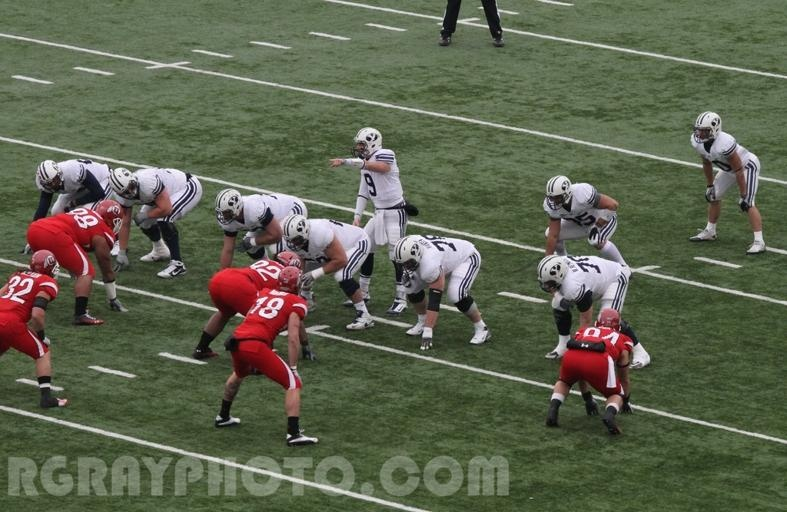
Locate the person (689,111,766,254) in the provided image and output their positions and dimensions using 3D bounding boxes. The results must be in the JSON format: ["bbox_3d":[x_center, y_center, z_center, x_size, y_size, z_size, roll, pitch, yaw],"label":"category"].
[{"bbox_3d":[4.885,-1.072,19.226,1.283,1.958,0.684,9,16,12],"label":"person"}]

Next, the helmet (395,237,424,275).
[{"bbox_3d":[0.190,-0.029,16.952,0.382,0.433,0.283,1,15,-14],"label":"helmet"}]

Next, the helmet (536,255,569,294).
[{"bbox_3d":[1.912,0.196,16.473,0.388,0.363,0.499,6,13,36],"label":"helmet"}]

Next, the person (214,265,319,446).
[{"bbox_3d":[-1.469,1.115,15.422,1.088,1.998,1.025,4,15,-7],"label":"person"}]

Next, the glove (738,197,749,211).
[{"bbox_3d":[5.100,-0.751,19.201,0.094,0.168,0.151,-8,-6,-31],"label":"glove"}]

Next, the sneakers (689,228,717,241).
[{"bbox_3d":[4.467,-0.299,19.468,0.530,0.167,0.153,1,7,-5],"label":"sneakers"}]

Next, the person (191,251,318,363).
[{"bbox_3d":[-1.650,0.532,16.777,1.683,0.967,1.536,13,20,42],"label":"person"}]

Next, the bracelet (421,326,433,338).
[{"bbox_3d":[0.439,0.980,16.994,0.161,0.116,0.124,-1,0,3],"label":"bracelet"}]

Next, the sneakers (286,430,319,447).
[{"bbox_3d":[-1.071,2.109,15.313,0.442,0.137,0.134,-1,1,-6],"label":"sneakers"}]

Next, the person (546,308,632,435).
[{"bbox_3d":[2.396,1.297,15.475,0.978,1.023,1.708,6,22,15],"label":"person"}]

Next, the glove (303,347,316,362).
[{"bbox_3d":[-1.060,1.231,16.678,0.092,0.104,0.254,-31,-13,-14],"label":"glove"}]

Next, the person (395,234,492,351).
[{"bbox_3d":[0.604,0.523,17.291,1.362,1.142,1.303,-11,19,-20],"label":"person"}]

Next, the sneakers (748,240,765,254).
[{"bbox_3d":[5.267,-0.141,19.191,0.261,0.199,0.321,8,14,14],"label":"sneakers"}]

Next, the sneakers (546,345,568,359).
[{"bbox_3d":[2.117,1.233,16.872,0.334,0.103,0.102,-2,14,-6],"label":"sneakers"}]

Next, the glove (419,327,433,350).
[{"bbox_3d":[0.415,1.058,17.019,0.232,0.252,0.110,-3,-10,5],"label":"glove"}]

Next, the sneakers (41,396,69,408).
[{"bbox_3d":[-4.001,1.721,15.680,0.320,0.095,0.109,-3,16,-20],"label":"sneakers"}]

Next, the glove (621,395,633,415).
[{"bbox_3d":[2.780,1.786,15.812,0.111,0.175,0.287,-2,14,13],"label":"glove"}]

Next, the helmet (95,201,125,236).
[{"bbox_3d":[-3.934,-0.530,17.880,0.544,0.446,0.579,2,1,-10],"label":"helmet"}]

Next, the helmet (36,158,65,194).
[{"bbox_3d":[-4.705,-1.070,18.148,0.337,0.438,0.316,1,15,-17],"label":"helmet"}]

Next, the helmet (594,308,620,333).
[{"bbox_3d":[2.551,0.753,15.761,0.271,0.245,0.302,11,8,0],"label":"helmet"}]

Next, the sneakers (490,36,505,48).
[{"bbox_3d":[1.992,-4.104,25.351,0.312,0.212,0.544,-1,5,2],"label":"sneakers"}]

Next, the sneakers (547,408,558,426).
[{"bbox_3d":[1.883,1.895,15.626,0.103,0.132,0.280,-10,21,16],"label":"sneakers"}]

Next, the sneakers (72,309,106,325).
[{"bbox_3d":[-3.977,0.815,17.349,0.472,0.234,0.147,-2,7,-8],"label":"sneakers"}]

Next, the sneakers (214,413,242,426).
[{"bbox_3d":[-1.951,1.907,15.496,0.322,0.100,0.113,-3,-35,-22],"label":"sneakers"}]

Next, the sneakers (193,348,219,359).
[{"bbox_3d":[-2.353,1.218,16.680,0.305,0.095,0.120,-2,-25,-28],"label":"sneakers"}]

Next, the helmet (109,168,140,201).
[{"bbox_3d":[-3.664,-0.993,18.087,0.348,0.435,0.420,-43,14,1],"label":"helmet"}]

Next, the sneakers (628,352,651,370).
[{"bbox_3d":[3.103,1.305,16.658,0.316,0.245,0.152,4,-19,-45],"label":"sneakers"}]

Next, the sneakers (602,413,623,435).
[{"bbox_3d":[2.551,1.966,15.474,0.108,0.255,0.195,-20,24,36],"label":"sneakers"}]

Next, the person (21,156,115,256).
[{"bbox_3d":[-4.620,-0.774,18.526,0.822,0.992,1.619,-6,7,43],"label":"person"}]
